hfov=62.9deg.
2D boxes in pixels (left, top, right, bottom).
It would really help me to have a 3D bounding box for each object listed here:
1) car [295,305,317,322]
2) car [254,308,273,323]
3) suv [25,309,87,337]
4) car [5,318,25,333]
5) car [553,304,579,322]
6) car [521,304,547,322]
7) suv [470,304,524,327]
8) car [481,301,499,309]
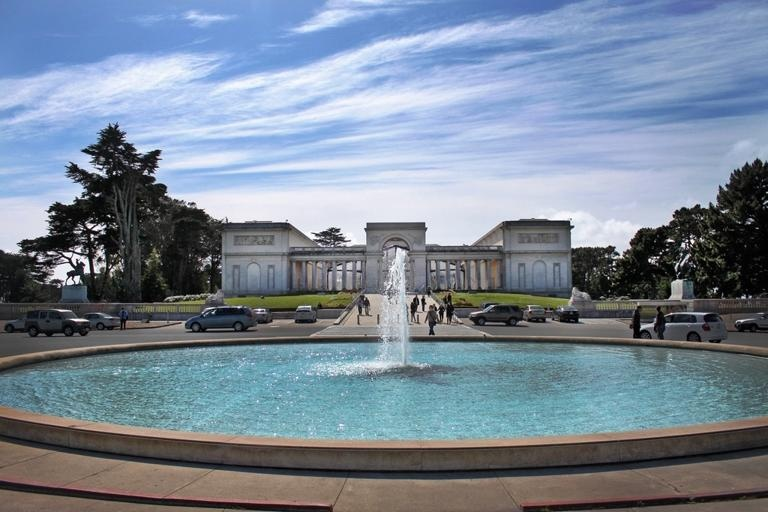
[{"bbox_3d":[-6.353,4.774,50.875,1.671,1.187,2.387,0,1,-9],"label":"car"},{"bbox_3d":[-9.690,4.819,50.050,1.451,0.815,2.912,0,-10,-3],"label":"car"},{"bbox_3d":[-19.883,4.073,37.983,3.828,1.622,1.134,0,1,2],"label":"suv"},{"bbox_3d":[-24.682,4.601,41.796,1.093,1.028,2.081,-1,1,-30],"label":"car"},{"bbox_3d":[14.832,4.691,50.391,1.268,1.214,1.808,0,1,-10],"label":"car"},{"bbox_3d":[12.592,4.838,52.007,1.417,1.281,2.634,0,1,3],"label":"car"},{"bbox_3d":[8.668,4.479,47.634,3.496,1.050,1.645,2,-5,1],"label":"suv"},{"bbox_3d":[9.055,4.323,54.431,1.271,0.733,1.742,-1,-6,1],"label":"car"}]
